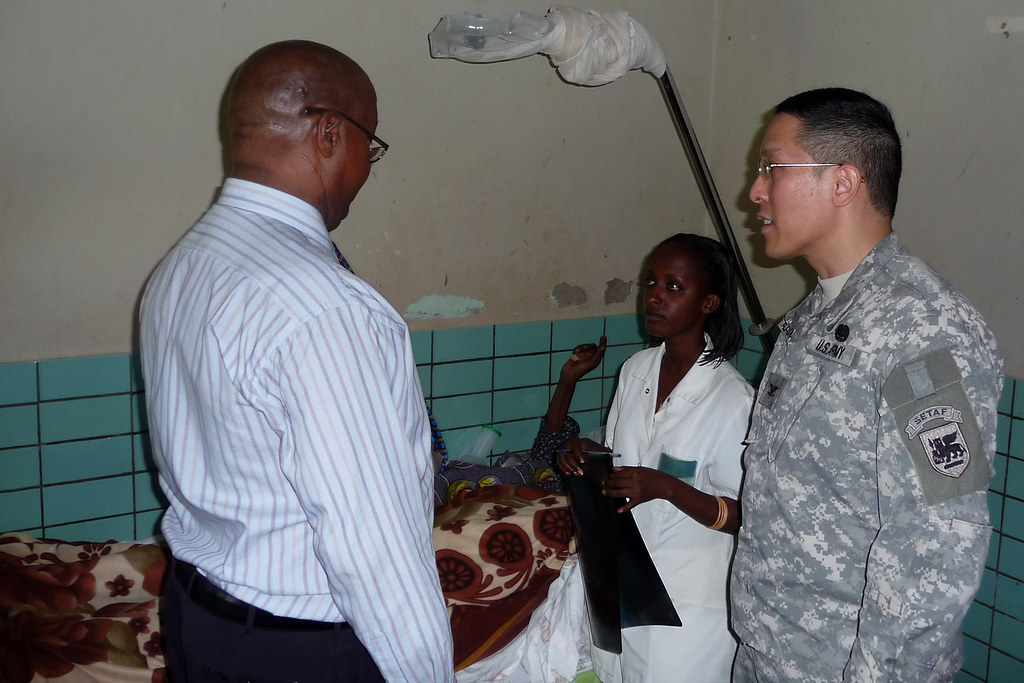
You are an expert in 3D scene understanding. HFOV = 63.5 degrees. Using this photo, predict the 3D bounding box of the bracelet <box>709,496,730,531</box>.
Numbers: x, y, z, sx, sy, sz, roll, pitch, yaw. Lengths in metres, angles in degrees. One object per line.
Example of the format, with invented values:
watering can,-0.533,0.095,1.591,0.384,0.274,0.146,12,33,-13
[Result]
bracelet,0.618,0.507,2.486,0.019,0.077,0.077,5,-14,-11
